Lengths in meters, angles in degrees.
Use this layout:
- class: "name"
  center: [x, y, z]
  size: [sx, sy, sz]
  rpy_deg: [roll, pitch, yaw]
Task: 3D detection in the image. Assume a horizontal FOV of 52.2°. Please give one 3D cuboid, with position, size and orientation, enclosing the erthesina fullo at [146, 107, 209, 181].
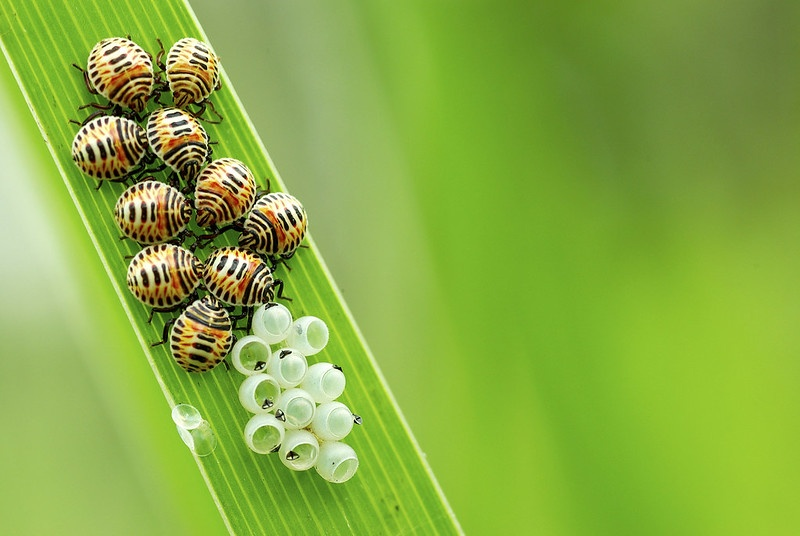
- class: "erthesina fullo"
  center: [-0.864, -0.492, 3.173]
  size: [0.163, 0.158, 0.270]
  rpy_deg: [-29, -62, 37]

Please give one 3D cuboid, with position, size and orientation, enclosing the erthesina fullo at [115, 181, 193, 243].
- class: "erthesina fullo"
  center: [-0.950, -0.218, 3.137]
  size: [0.262, 0.186, 0.169]
  rpy_deg: [28, -45, -9]

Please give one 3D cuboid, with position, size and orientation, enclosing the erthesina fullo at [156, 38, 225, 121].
- class: "erthesina fullo"
  center: [-0.811, -0.755, 3.203]
  size: [0.239, 0.317, 0.089]
  rpy_deg: [5, -9, -26]

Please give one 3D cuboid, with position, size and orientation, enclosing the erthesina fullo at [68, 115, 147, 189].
- class: "erthesina fullo"
  center: [-1.120, -0.463, 3.136]
  size: [0.250, 0.182, 0.174]
  rpy_deg: [31, -46, -12]

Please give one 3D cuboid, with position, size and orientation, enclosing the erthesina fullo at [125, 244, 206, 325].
- class: "erthesina fullo"
  center: [-0.905, 0.029, 3.122]
  size: [0.257, 0.185, 0.173]
  rpy_deg: [33, -46, -13]

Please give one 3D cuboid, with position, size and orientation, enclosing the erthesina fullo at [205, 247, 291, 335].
- class: "erthesina fullo"
  center: [-0.627, 0.052, 3.182]
  size: [0.297, 0.210, 0.209]
  rpy_deg: [35, -47, -15]
